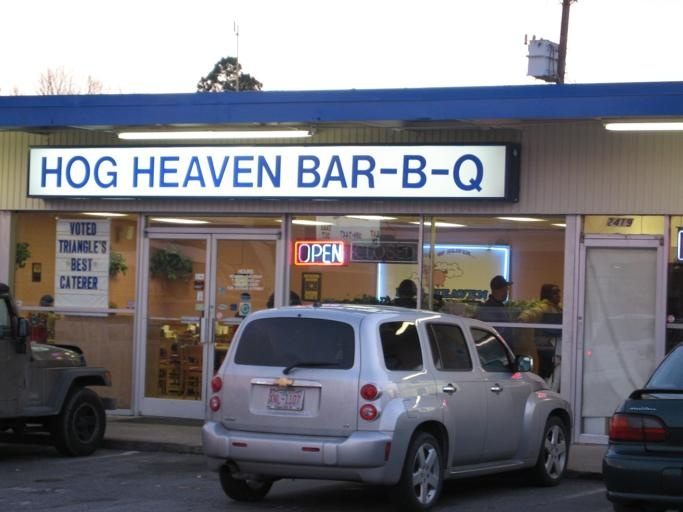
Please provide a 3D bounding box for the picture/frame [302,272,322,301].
[{"bbox_3d":[-0.495,0.524,16.728,0.442,0.624,0.081,1,0,19],"label":"picture/frame"}]

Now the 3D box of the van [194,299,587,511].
[{"bbox_3d":[0.589,1.589,11.703,2.189,1.750,3.673,-1,1,37],"label":"van"}]

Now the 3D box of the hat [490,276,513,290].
[{"bbox_3d":[2.589,0.416,15.985,0.263,0.162,0.189,-6,5,-15],"label":"hat"}]
